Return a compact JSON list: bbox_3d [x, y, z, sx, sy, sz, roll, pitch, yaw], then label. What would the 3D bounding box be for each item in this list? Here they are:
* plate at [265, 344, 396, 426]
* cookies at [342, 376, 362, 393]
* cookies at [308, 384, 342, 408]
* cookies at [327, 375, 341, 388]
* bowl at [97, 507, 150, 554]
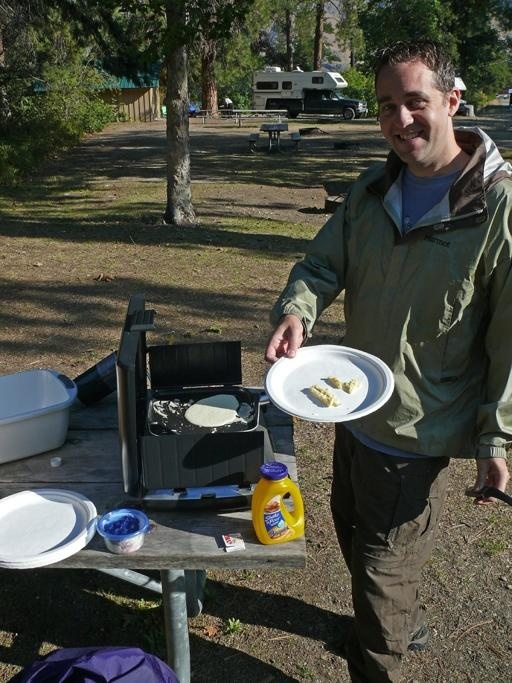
[{"bbox_3d":[0.243,0.122,2.071,0.481,0.169,0.326,-6,14,-29],"label":"plate"},{"bbox_3d":[0.292,0.133,2.039,0.052,0.030,0.057,11,20,31],"label":"cookies"},{"bbox_3d":[0.201,0.157,1.992,0.045,0.024,0.086,-19,24,-13],"label":"cookies"},{"bbox_3d":[0.243,0.121,2.069,0.029,0.044,0.083,15,3,6],"label":"cookies"},{"bbox_3d":[-0.386,0.542,1.977,0.159,0.057,0.102,0,28,0],"label":"bowl"}]
